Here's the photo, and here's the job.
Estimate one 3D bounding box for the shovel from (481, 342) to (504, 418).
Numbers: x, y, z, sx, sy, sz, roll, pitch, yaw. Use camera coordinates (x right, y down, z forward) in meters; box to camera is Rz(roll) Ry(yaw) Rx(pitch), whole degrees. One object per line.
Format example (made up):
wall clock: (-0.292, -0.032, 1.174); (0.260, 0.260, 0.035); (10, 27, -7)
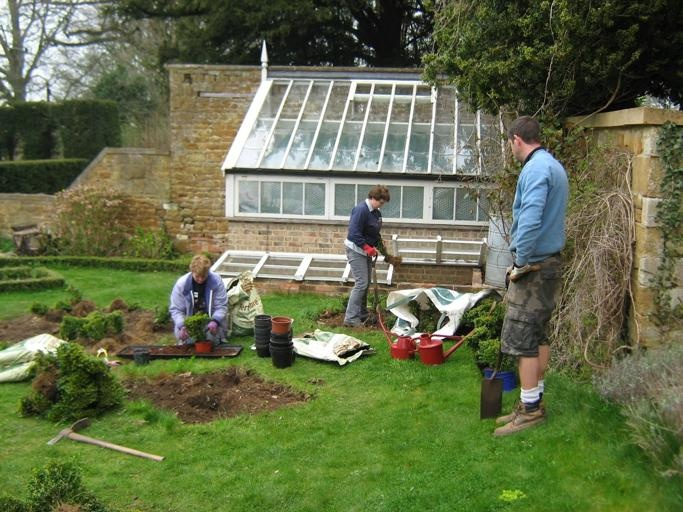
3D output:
shovel: (1.496, 1.232, 6.427); (0.210, 1.086, 0.107); (-5, 31, -4)

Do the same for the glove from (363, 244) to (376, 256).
glove: (0.414, -0.079, 9.586); (0.148, 0.057, 0.151); (36, 32, 17)

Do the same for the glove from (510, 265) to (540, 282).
glove: (1.709, 0.115, 6.129); (0.200, 0.106, 0.150); (-28, 27, -10)

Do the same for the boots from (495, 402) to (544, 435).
boots: (1.725, 1.576, 6.301); (0.408, 0.167, 0.294); (-21, 4, 5)

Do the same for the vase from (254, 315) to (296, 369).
vase: (-0.894, 1.082, 8.264); (0.581, 0.575, 0.478); (1, 4, 28)

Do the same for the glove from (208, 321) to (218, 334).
glove: (-1.703, 0.946, 8.591); (0.106, 0.098, 0.154); (0, -37, 6)

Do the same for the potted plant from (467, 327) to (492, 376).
potted plant: (1.621, 1.155, 7.813); (0.347, 0.447, 0.308); (7, -36, -27)

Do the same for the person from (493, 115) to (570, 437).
person: (1.828, 0.192, 6.247); (0.600, 3.066, 0.432); (2, 4, 11)

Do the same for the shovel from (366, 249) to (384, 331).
shovel: (0.498, 0.432, 9.842); (0.194, 1.131, 0.291); (1, 15, 16)

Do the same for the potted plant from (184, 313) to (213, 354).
potted plant: (-1.864, 1.023, 8.619); (0.401, 0.544, 0.499); (-4, -4, -4)
